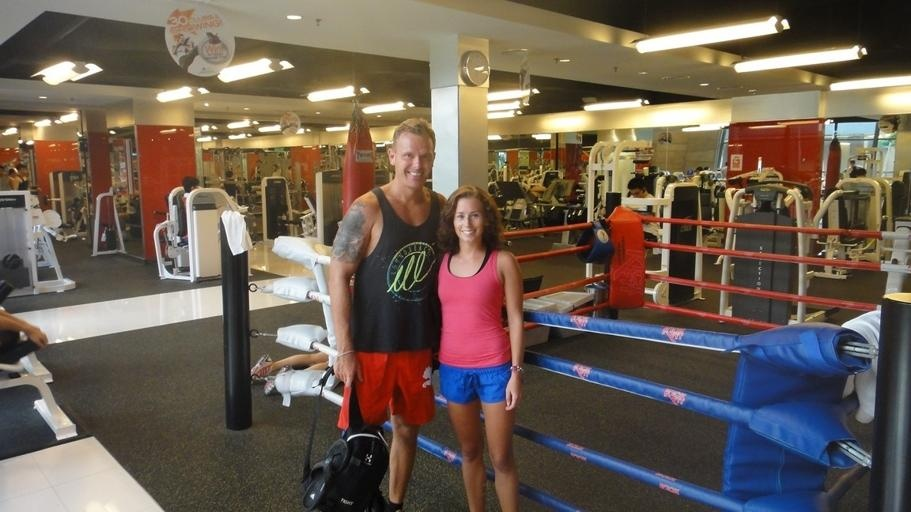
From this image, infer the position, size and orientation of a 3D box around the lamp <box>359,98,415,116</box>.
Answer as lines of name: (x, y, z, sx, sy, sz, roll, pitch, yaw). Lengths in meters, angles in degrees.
lamp: (-1.596, -3.542, 14.202, 0.858, 0.176, 1.025, -7, 13, -36)

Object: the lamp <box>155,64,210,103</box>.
lamp: (-5.386, -3.210, 11.813, 0.833, 0.214, 2.720, -4, 11, -25)

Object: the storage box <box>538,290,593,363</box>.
storage box: (1.603, 0.827, 8.273, 0.834, 0.501, 0.594, -11, 11, -37)

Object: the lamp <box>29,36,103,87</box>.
lamp: (-6.150, -3.152, 9.536, 0.845, 0.201, 0.954, -10, 10, -39)

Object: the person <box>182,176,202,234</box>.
person: (-5.350, -1.048, 12.098, 0.343, 1.029, 2.036, -4, 12, -22)

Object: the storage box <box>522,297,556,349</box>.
storage box: (1.114, 0.852, 7.964, 0.383, 0.637, 0.905, 2, 11, 8)

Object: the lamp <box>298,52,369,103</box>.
lamp: (-2.352, -3.576, 12.221, 1.136, 0.750, 3.444, -1, 10, -7)

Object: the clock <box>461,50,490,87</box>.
clock: (0.277, -2.606, 8.360, 0.460, 0.484, 0.133, -6, 13, -32)

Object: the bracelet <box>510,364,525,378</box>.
bracelet: (0.507, 0.942, 4.965, 0.089, 0.060, 0.091, 3, -11, -8)
